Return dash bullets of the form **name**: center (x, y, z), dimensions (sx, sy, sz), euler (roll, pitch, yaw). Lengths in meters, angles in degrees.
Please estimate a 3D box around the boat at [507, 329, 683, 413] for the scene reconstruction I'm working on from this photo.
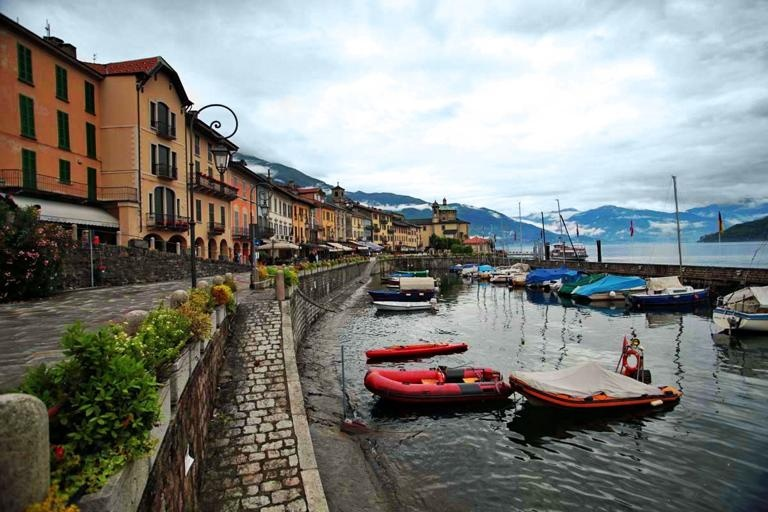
- **boat**: center (9.686, 5.450, 23.862), dimensions (6.394, 2.359, 3.808), euler (-1, 0, -3)

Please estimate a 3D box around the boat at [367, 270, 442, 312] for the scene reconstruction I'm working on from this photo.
- **boat**: center (2.603, 3.572, 47.325), dimensions (7.587, 2.551, 2.768), euler (3, -3, -26)
